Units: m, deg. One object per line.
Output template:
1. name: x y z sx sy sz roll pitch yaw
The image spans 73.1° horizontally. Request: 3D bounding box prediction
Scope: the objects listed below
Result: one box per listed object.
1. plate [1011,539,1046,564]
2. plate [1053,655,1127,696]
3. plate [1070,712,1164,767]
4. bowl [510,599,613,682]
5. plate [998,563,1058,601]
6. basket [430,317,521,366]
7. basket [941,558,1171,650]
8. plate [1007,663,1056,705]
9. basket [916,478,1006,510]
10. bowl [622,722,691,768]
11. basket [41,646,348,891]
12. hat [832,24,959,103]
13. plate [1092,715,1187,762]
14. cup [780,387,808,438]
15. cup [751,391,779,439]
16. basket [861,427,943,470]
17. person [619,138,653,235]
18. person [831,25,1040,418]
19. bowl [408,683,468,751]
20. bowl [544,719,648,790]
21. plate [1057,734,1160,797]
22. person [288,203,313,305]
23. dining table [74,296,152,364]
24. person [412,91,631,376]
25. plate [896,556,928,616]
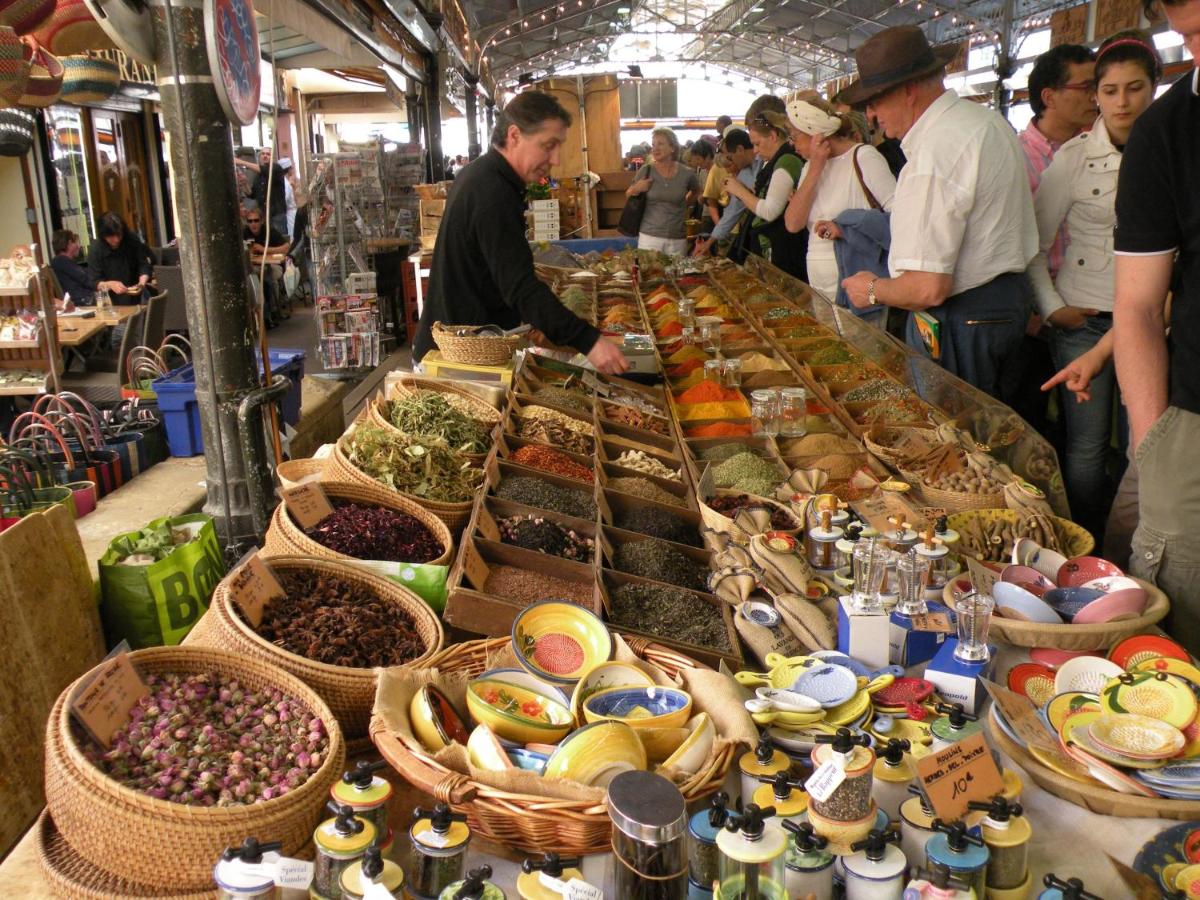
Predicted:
1. plate: 1.105 0.264 2.093 0.072 0.069 0.021 -3 -27 -2
2. plate: 1.000 0.457 1.657 0.094 0.023 0.093 4 34 22
3. plate: 0.947 0.524 1.471 0.094 0.030 0.094 0 15 31
4. bowl: -0.088 0.419 1.715 0.209 0.057 0.203 0 36 0
5. plate: 1.065 0.310 1.991 0.087 0.025 0.085 2 28 -20
6. basket: -0.567 -0.480 3.674 0.411 0.165 0.346 -2 17 -2
7. basket: 1.031 0.398 1.850 0.284 0.073 0.280 -2 12 3
8. plate: 0.909 0.487 1.696 0.079 0.018 0.075 -1 29 -3
9. basket: 1.087 0.137 2.435 0.235 0.057 0.107 4 18 19
10. bowl: 0.118 0.514 1.465 0.093 0.054 0.090 -1 -5 0
11. basket: -0.761 0.563 1.524 0.570 0.263 0.405 7 19 27
12. hat: 1.185 -1.601 3.270 0.514 0.184 0.462 -4 34 30
13. plate: 0.980 0.504 1.465 0.085 0.028 0.083 -9 9 -21
14. cup: 0.731 -0.152 3.034 0.097 0.150 0.264 3 17 15
15. cup: 0.615 -0.134 2.987 0.099 0.149 0.211 1 17 10
16. basket: 1.066 -0.021 2.861 0.173 0.067 0.181 -12 22 -32
17. person: 0.300 -2.929 9.069 0.338 0.907 0.540 21 23 13
18. person: 1.420 -0.935 3.338 0.682 1.545 0.573 -12 19 -30
19. bowl: -0.295 0.496 1.519 0.046 0.106 0.108 -30 18 1
20. bowl: -0.003 0.521 1.369 0.179 0.091 0.080 -6 17 -15
21. plate: 0.899 0.562 1.434 0.083 0.016 0.081 25 1 -14
22. person: -4.549 -2.981 12.321 0.317 1.454 1.246 -8 18 -19
23. dining table: -4.481 -1.092 7.419 0.409 0.220 0.948 3 39 -4
24. person: -0.416 -1.013 3.750 1.054 1.239 0.538 0 17 5
25. plate: 0.712 0.301 1.837 0.067 0.110 0.128 4 18 20
